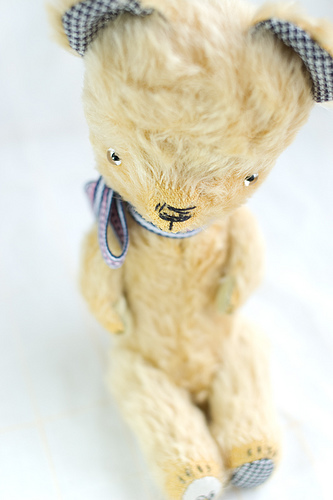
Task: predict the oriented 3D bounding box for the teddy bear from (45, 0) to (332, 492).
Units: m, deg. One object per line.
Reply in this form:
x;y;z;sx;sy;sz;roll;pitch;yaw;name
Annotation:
0.023;-0.006;0.717;0.272;0.582;0.366;-13;35;-30;teddy bear
